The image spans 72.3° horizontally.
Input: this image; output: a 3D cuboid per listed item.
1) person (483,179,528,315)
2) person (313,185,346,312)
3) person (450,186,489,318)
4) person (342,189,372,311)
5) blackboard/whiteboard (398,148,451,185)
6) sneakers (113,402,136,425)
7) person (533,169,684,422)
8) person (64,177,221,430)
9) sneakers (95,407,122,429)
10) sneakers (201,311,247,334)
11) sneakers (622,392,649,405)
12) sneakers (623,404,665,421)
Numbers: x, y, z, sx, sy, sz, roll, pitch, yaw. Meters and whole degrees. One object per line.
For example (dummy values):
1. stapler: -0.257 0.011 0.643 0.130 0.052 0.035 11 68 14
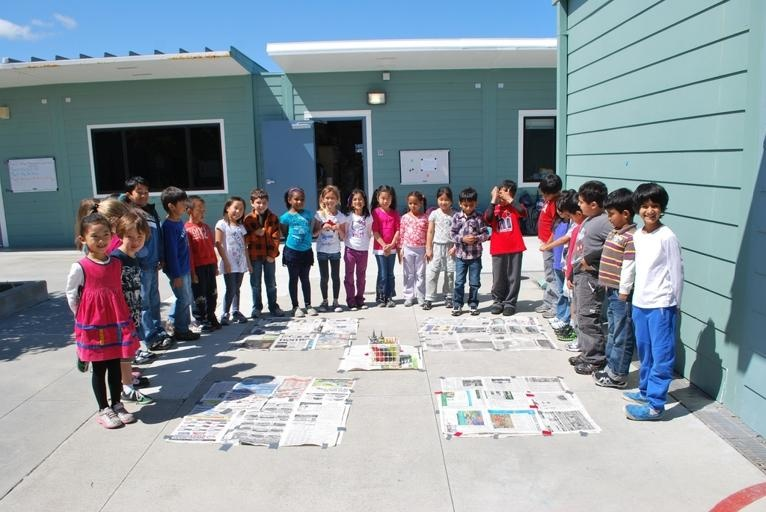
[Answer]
1. person: 1.489 0.008 6.370 0.461 1.389 0.431 -1 13 14
2. person: -0.672 -0.100 6.753 0.421 1.583 0.619 -5 13 -6
3. person: 1.072 -0.058 6.465 0.463 1.515 0.601 -2 13 11
4. person: -0.359 -0.083 6.744 0.390 1.498 0.509 1 14 22
5. blackboard/whiteboard: 0.914 -1.936 11.468 1.086 0.713 0.086 -3 13 -7
6. sneakers: -2.133 1.287 4.324 0.266 0.113 0.091 10 22 34
7. person: 2.128 0.338 4.330 0.571 1.851 0.760 -3 13 5
8. person: -2.291 0.488 4.413 0.506 1.704 0.798 -4 13 2
9. sneakers: -2.221 1.315 4.266 0.243 0.108 0.104 12 11 27
10. sneakers: -1.897 0.781 6.178 0.566 0.237 0.182 -8 17 -13
11. sneakers: 2.126 1.196 4.403 0.162 0.065 0.072 4 10 23
12. sneakers: 2.078 1.254 4.170 0.255 0.099 0.131 1 22 8
